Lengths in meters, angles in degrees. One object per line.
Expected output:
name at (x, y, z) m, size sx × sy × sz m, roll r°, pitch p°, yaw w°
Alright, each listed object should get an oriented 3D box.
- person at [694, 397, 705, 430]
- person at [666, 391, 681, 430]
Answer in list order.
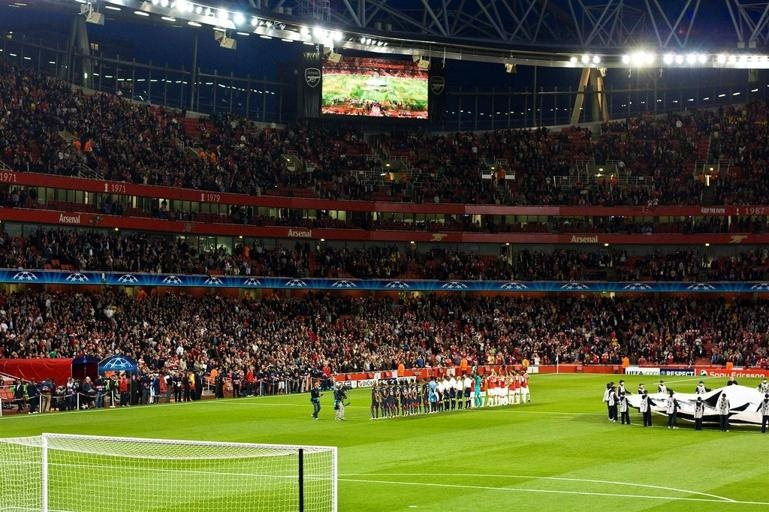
person at (21.639, 10.680, 92.120) m, size 0.662 × 2.259 × 0.576 m, roll 0°, pitch -5°, yaw -12°
person at (19.970, 10.563, 92.750) m, size 0.776 × 2.523 × 1.120 m, roll -2°, pitch -5°, yaw 8°
